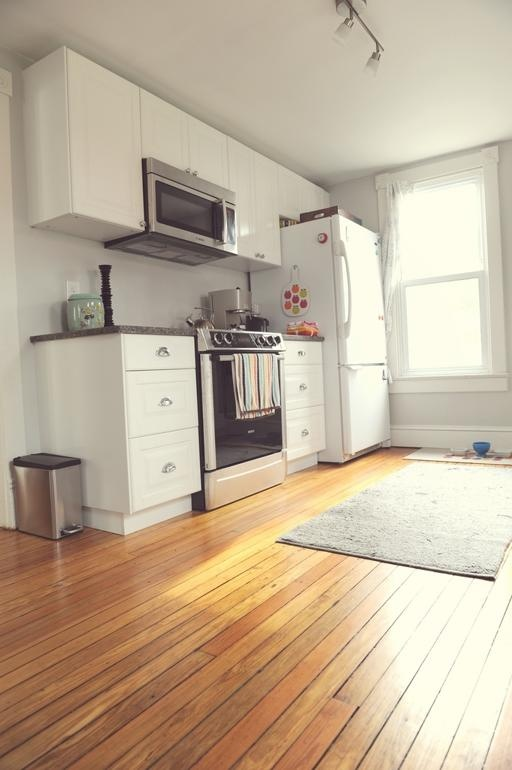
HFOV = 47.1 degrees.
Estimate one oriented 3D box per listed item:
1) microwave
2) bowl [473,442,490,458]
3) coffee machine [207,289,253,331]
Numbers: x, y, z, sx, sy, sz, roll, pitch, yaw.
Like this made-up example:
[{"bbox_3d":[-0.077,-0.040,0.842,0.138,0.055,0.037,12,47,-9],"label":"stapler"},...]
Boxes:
[{"bbox_3d":[-0.404,-0.662,2.974,0.387,0.412,0.805,-1,1,21],"label":"microwave"},{"bbox_3d":[1.484,0.429,3.852,0.097,0.070,0.095,0,-5,0],"label":"bowl"},{"bbox_3d":[-0.127,-0.454,3.593,0.249,0.317,0.232,-2,5,12],"label":"coffee machine"}]
